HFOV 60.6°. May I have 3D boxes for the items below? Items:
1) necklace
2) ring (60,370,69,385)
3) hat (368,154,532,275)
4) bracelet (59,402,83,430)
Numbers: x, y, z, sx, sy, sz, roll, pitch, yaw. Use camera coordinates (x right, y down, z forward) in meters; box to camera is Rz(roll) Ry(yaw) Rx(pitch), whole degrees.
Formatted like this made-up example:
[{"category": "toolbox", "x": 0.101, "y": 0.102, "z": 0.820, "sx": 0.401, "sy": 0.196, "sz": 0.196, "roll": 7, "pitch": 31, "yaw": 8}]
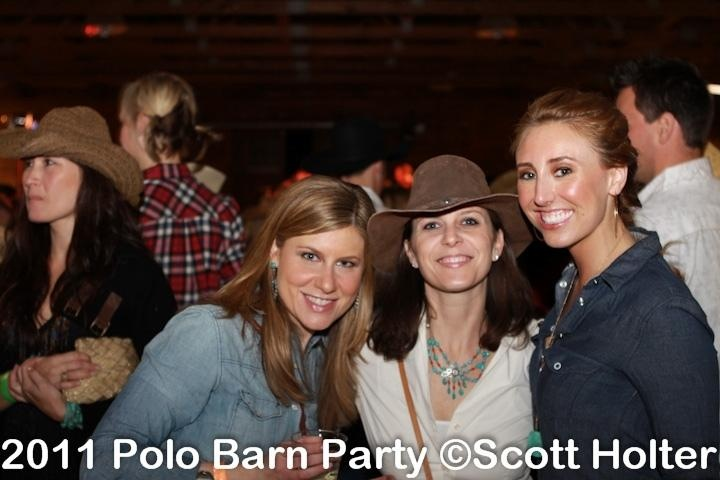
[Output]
[{"category": "necklace", "x": 0.611, "y": 0.752, "z": 3.734, "sx": 0.416, "sy": 0.396, "sz": 0.042, "roll": 10, "pitch": -4, "yaw": 14}, {"category": "ring", "x": -1.685, "y": 0.790, "z": 3.509, "sx": 0.037, "sy": 0.068, "sz": 0.019, "roll": 1, "pitch": -1, "yaw": -23}, {"category": "hat", "x": 0.556, "y": -0.045, "z": 3.955, "sx": 0.733, "sy": 0.360, "sz": 0.869, "roll": -5, "pitch": -18, "yaw": 9}, {"category": "bracelet", "x": -1.642, "y": 1.010, "z": 3.524, "sx": 0.146, "sy": 0.142, "sz": 0.052, "roll": 0, "pitch": 5, "yaw": -35}]
